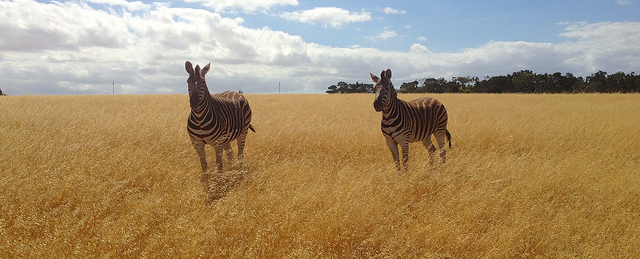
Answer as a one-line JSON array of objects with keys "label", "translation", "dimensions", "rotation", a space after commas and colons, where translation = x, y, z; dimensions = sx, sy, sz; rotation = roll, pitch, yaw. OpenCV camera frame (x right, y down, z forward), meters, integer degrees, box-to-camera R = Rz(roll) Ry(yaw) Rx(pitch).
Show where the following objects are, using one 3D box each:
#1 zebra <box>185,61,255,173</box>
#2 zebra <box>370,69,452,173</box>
[{"label": "zebra", "translation": [-5.604, -0.768, 22.041], "dimensions": [1.845, 5.839, 3.176], "rotation": [10, 17, 40]}, {"label": "zebra", "translation": [5.156, -0.094, 23.511], "dimensions": [2.508, 5.105, 8.537], "rotation": [-3, -3, 40]}]
